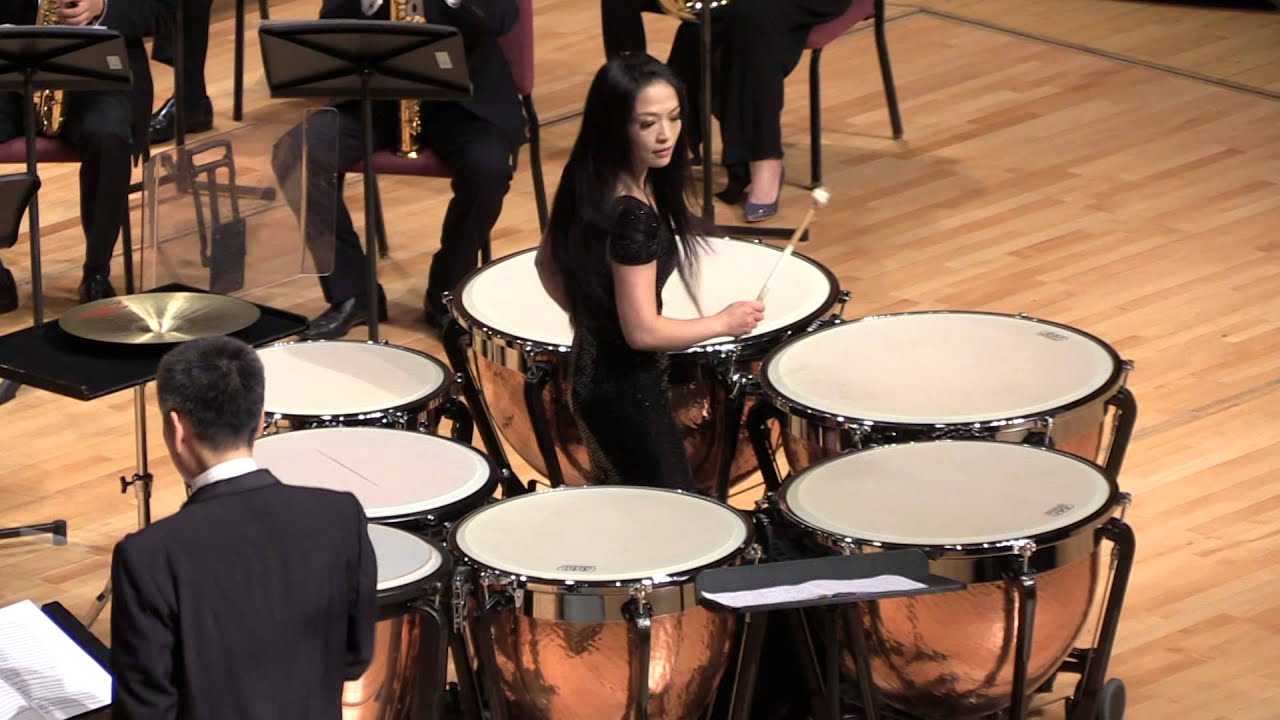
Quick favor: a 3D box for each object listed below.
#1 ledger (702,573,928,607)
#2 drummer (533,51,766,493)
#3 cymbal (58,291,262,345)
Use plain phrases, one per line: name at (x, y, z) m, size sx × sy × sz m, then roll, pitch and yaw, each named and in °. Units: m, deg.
ledger at (0.390, 0.515, 2.850) m, size 0.501 × 0.017 × 0.101 m, roll -4°, pitch 21°, yaw -5°
drummer at (-0.047, -0.231, 3.537) m, size 0.537 × 1.206 × 0.593 m, roll 18°, pitch 28°, yaw 40°
cymbal at (-1.234, -0.111, 3.313) m, size 0.472 × 0.067 × 0.318 m, roll -12°, pitch 23°, yaw -23°
